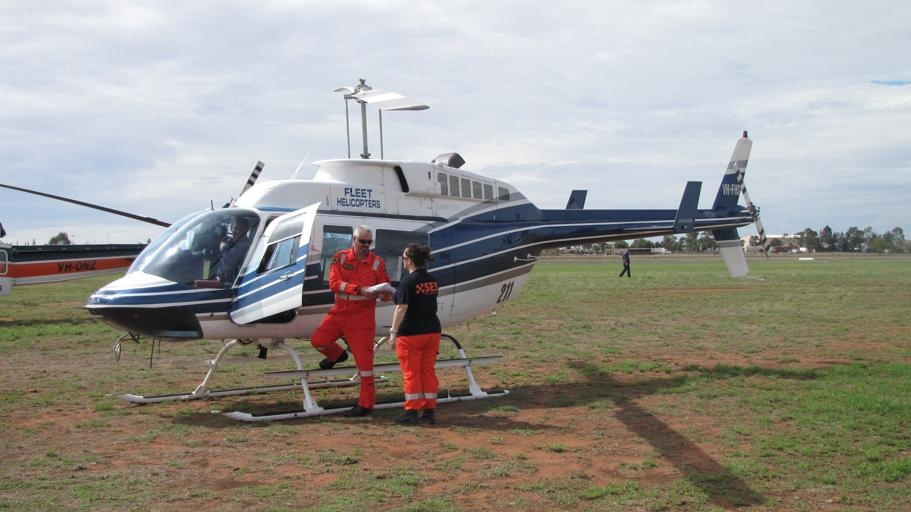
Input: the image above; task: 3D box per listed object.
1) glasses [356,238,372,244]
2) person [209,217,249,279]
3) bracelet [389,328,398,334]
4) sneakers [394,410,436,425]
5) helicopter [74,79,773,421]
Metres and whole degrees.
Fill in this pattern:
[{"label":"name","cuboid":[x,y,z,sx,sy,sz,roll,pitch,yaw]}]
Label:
[{"label":"glasses","cuboid":[-1.660,-0.258,11.419,0.127,0.110,0.251,11,16,35]},{"label":"person","cuboid":[-4.434,-0.096,12.140,0.402,1.214,0.736,8,19,20]},{"label":"bracelet","cuboid":[-1.132,1.375,11.318,0.166,0.032,0.170,1,5,2]},{"label":"sneakers","cuboid":[-0.736,3.008,11.603,0.921,0.210,0.253,2,-2,-10]},{"label":"helicopter","cuboid":[0.295,-0.351,14.115,15.760,3.825,3.668,-4,9,-21]}]
